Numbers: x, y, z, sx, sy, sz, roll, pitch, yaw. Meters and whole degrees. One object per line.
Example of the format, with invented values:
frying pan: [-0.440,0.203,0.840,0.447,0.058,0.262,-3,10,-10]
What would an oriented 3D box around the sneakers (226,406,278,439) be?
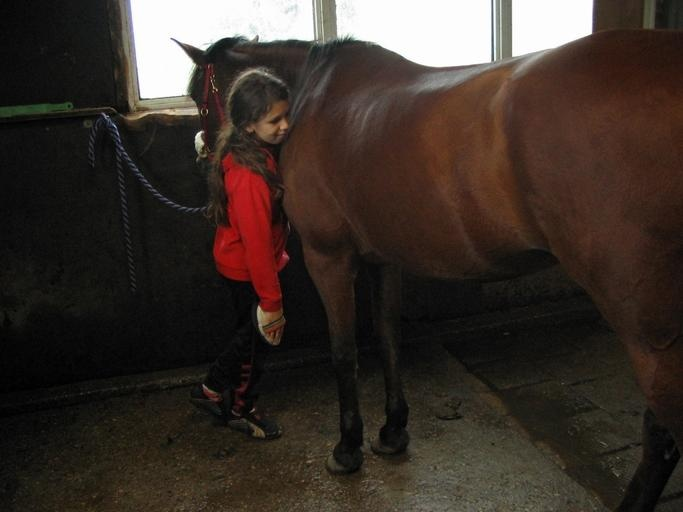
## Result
sneakers: [-0.362,0.682,2.388,0.236,0.104,0.097,12,13,22]

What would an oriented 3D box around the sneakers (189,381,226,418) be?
sneakers: [-0.569,0.616,2.429,0.201,0.098,0.071,26,30,12]
